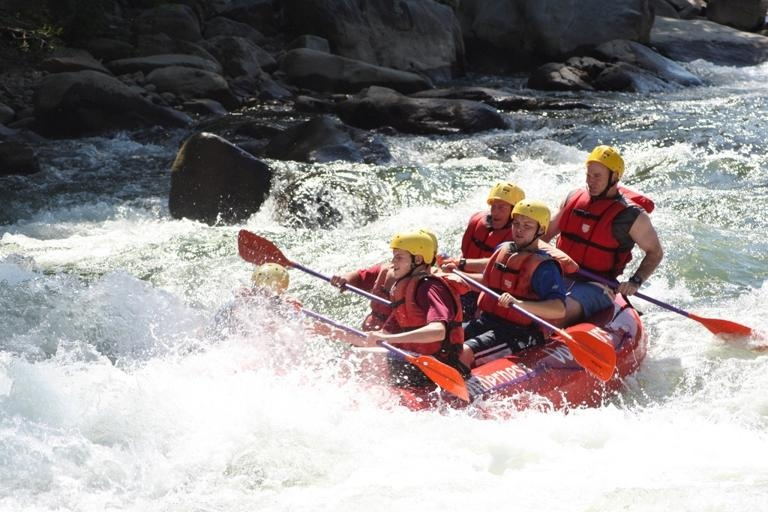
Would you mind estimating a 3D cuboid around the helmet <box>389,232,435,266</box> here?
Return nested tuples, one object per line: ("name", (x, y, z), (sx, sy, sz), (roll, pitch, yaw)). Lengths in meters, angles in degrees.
("helmet", (0.345, -0.106, 10.329), (0.528, 0.364, 0.391), (8, -4, -19))

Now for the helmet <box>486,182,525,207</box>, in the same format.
("helmet", (1.512, -0.780, 11.044), (0.399, 0.227, 0.290), (-12, 28, -43))

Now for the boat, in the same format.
("boat", (1.837, 1.253, 10.408), (2.517, 0.767, 1.353), (-5, 42, 0))

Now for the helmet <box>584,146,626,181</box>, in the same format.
("helmet", (2.852, -1.209, 11.160), (0.517, 0.378, 0.358), (-15, 26, -18))

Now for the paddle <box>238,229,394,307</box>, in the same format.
("paddle", (-0.926, 0.206, 12.002), (2.367, 0.314, 0.121), (24, 37, 19))

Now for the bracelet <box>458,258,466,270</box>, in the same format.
("bracelet", (0.998, 0.104, 11.380), (0.106, 0.134, 0.151), (4, -8, 2))

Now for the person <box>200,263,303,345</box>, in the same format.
("person", (-1.594, 0.550, 10.592), (1.099, 0.762, 0.610), (-5, 14, -11))
